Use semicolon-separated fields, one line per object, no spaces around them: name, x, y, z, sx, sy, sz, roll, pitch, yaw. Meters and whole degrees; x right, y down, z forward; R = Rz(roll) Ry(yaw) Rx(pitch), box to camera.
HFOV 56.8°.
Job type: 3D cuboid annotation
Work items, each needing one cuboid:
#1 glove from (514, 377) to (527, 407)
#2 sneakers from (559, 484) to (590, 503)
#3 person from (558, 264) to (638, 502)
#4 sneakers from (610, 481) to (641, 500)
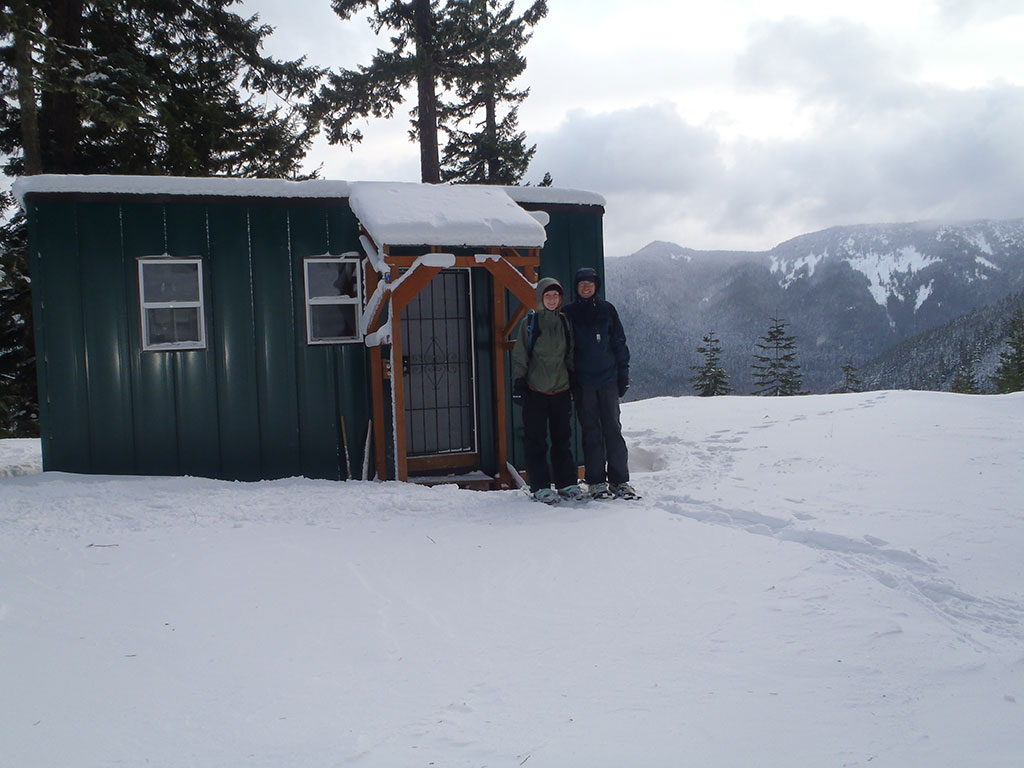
glove;0.088;0.079;10.444;0.174;0.272;0.069;8;3;36
sneakers;0.655;1.183;10.287;0.159;0.148;0.298;1;-8;-32
person;0.980;0.052;10.409;0.664;1.728;0.357;-3;2;-1
sneakers;1.247;1.169;10.430;0.393;0.206;0.140;-1;0;8
